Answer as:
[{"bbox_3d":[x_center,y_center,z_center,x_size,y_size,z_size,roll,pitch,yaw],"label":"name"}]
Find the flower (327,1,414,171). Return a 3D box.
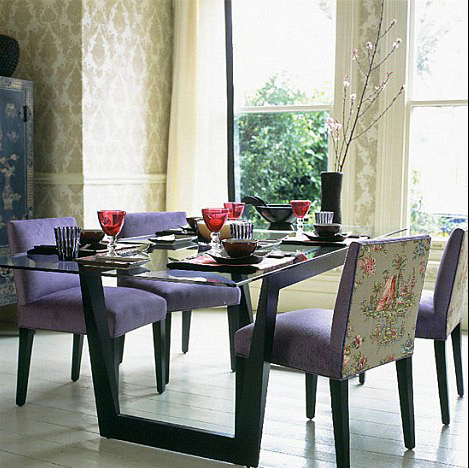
[{"bbox_3d":[0.951,-1.077,3.277,0.554,1.249,0.581,4,9,14],"label":"flower"}]

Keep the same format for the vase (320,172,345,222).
[{"bbox_3d":[0.497,-0.190,2.304,0.109,0.245,0.127,4,9,16],"label":"vase"}]

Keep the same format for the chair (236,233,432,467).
[{"bbox_3d":[0.364,0.359,1.488,0.382,0.759,0.452,9,12,41],"label":"chair"}]

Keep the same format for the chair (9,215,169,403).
[{"bbox_3d":[-0.636,0.322,2.038,0.562,0.772,0.468,0,-1,17],"label":"chair"}]
